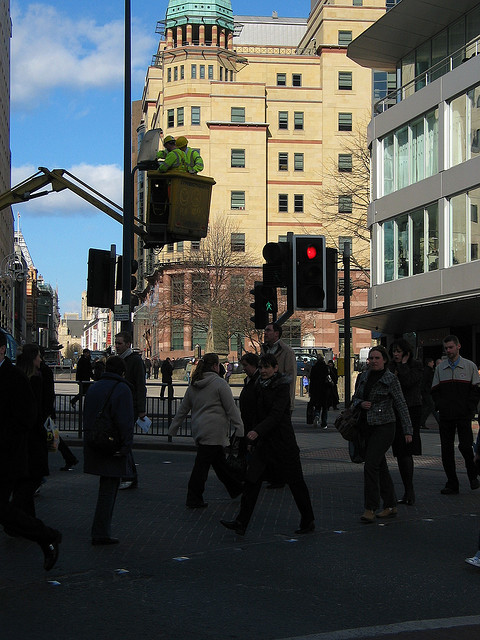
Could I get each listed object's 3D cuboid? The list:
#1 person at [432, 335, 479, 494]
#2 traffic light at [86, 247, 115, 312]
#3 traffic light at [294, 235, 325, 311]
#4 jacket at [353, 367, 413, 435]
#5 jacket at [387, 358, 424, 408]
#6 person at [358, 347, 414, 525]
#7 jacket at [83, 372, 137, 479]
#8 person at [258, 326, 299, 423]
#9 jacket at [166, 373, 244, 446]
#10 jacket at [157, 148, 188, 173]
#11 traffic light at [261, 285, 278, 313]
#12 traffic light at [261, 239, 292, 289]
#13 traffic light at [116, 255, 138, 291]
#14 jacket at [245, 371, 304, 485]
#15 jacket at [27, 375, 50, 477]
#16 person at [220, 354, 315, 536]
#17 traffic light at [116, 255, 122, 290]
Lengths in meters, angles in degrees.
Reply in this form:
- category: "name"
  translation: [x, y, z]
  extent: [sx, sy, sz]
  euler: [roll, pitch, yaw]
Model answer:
- category: "person"
  translation: [2.535, 1.092, 10.874]
  extent: [0.540, 1.815, 0.595]
  euler: [1, -1, -1]
- category: "traffic light"
  translation: [-2.121, -0.627, 14.187]
  extent: [0.409, 0.885, 0.489]
  euler: [1, 0, -10]
- category: "traffic light"
  translation: [0.812, -0.550, 10.784]
  extent: [0.416, 0.857, 0.430]
  euler: [1, 0, -8]
- category: "jacket"
  translation: [1.334, 0.826, 8.822]
  extent: [0.637, 0.824, 0.358]
  euler: [-9, -24, 37]
- category: "jacket"
  translation: [1.795, 0.642, 10.090]
  extent: [0.341, 0.545, 0.372]
  euler: [-6, 9, -44]
- category: "person"
  translation: [1.298, 1.074, 8.833]
  extent: [0.381, 1.605, 0.617]
  euler: [0, -1, 40]
- category: "jacket"
  translation: [-1.073, 0.854, 7.593]
  extent: [0.400, 0.846, 0.408]
  euler: [1, -1, -10]
- category: "person"
  translation: [0.387, 0.730, 10.428]
  extent: [0.397, 1.395, 0.374]
  euler: [-2, -2, 21]
- category: "jacket"
  translation: [-0.370, 1.061, 9.652]
  extent: [0.748, 1.195, 0.345]
  euler: [2, 7, 12]
- category: "jacket"
  translation: [-1.024, -2.394, 14.066]
  extent: [0.454, 0.376, 0.215]
  euler: [1, 0, -6]
- category: "traffic light"
  translation: [0.358, -0.258, 11.727]
  extent: [0.184, 0.326, 0.443]
  euler: [1, 0, -2]
- category: "traffic light"
  translation: [0.436, -0.668, 11.082]
  extent: [0.334, 0.608, 0.676]
  euler: [1, 0, 1]
- category: "traffic light"
  translation: [-1.836, -0.743, 14.984]
  extent: [0.323, 0.546, 1.111]
  euler: [1, 0, -8]
- category: "jacket"
  translation: [0.304, 0.962, 8.125]
  extent: [0.486, 0.937, 0.416]
  euler: [1, -1, 4]
- category: "jacket"
  translation: [-1.749, 0.918, 7.912]
  extent: [0.236, 0.888, 0.186]
  euler: [1, -7, -28]
- category: "person"
  translation: [0.259, 1.074, 8.052]
  extent: [0.771, 1.542, 0.563]
  euler: [1, -1, -8]
- category: "traffic light"
  translation: [-1.913, -0.748, 14.693]
  extent: [0.088, 0.528, 0.417]
  euler: [1, 0, -7]
